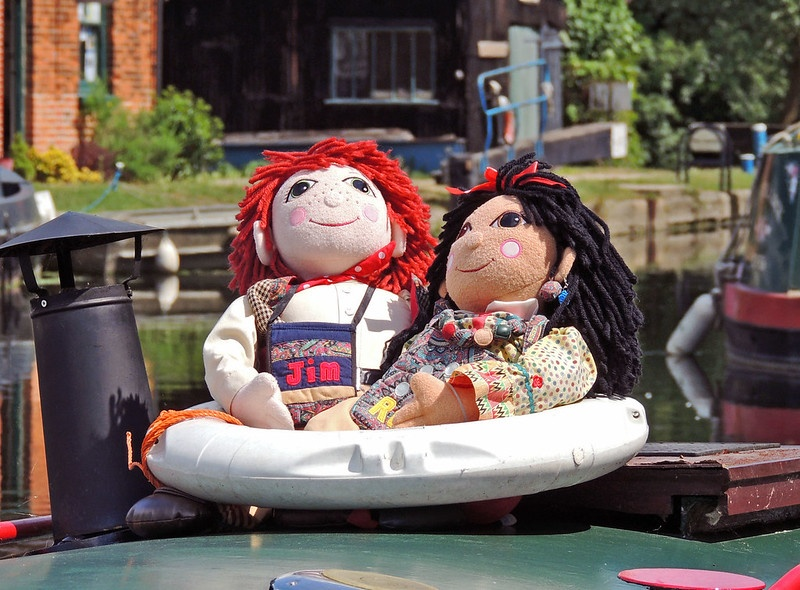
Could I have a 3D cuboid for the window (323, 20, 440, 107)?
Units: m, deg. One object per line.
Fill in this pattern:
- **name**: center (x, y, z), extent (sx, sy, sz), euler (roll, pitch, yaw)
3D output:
- **window**: center (-0.270, -3.379, 25.806), extent (1.258, 0.857, 0.097), euler (0, 4, 3)
